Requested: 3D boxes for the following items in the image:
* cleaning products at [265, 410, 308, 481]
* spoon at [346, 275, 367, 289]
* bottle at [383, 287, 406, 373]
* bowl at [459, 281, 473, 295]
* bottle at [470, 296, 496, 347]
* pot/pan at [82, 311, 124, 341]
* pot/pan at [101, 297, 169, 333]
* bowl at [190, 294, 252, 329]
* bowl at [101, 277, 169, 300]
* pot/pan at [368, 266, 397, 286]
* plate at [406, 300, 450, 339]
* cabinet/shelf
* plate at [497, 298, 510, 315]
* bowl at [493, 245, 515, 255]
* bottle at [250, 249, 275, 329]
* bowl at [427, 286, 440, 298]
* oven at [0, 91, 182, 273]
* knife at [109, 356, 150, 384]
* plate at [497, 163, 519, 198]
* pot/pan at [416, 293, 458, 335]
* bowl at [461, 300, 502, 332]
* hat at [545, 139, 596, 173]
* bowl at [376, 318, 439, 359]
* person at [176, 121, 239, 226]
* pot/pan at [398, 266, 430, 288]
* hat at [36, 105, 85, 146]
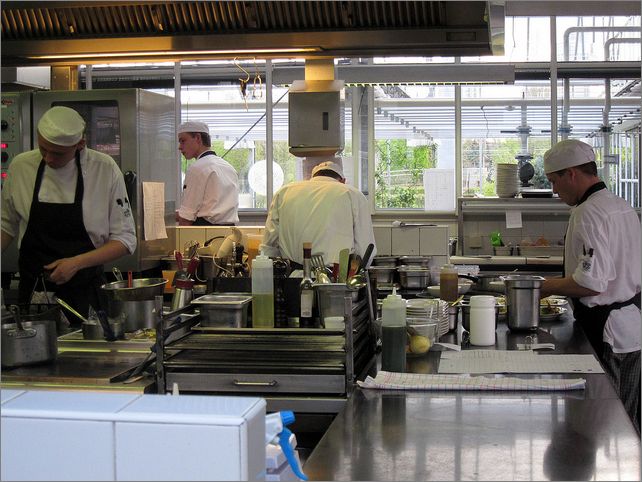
[{"bbox_3d":[-0.073,0.434,1.270,0.079,0.174,0.158,0,7,-3],"label":"cleaning products"},{"bbox_3d":[0.135,0.154,2.219,0.027,0.043,0.064,-17,-4,35],"label":"spoon"},{"bbox_3d":[0.260,0.317,2.115,0.082,0.296,0.048,1,7,6],"label":"bottle"},{"bbox_3d":[0.774,0.250,3.226,0.081,0.036,0.081,0,3,0],"label":"bowl"},{"bbox_3d":[0.679,0.333,2.510,0.106,0.196,0.123,2,7,15],"label":"bottle"},{"bbox_3d":[-0.907,0.357,2.507,0.232,0.091,0.142,3,8,19],"label":"pot/pan"},{"bbox_3d":[-0.797,0.307,2.624,0.175,0.114,0.178,0,2,23],"label":"pot/pan"},{"bbox_3d":[-0.370,0.277,2.255,0.223,0.119,0.243,0,7,0],"label":"bowl"},{"bbox_3d":[-0.793,0.218,2.590,0.235,0.082,0.243,0,8,0],"label":"bowl"},{"bbox_3d":[0.430,0.195,4.016,0.207,0.138,0.208,1,5,5],"label":"pot/pan"},{"bbox_3d":[0.444,0.318,2.469,0.172,0.116,0.180,0,3,12],"label":"plate"},{"bbox_3d":[1.894,-0.227,6.939,1.634,0.530,1.505,0,3,5],"label":"cabinet/shelf"},{"bbox_3d":[0.881,0.321,2.897,0.066,0.113,0.111,-3,-8,12],"label":"plate"},{"bbox_3d":[1.847,0.101,6.035,0.126,0.060,0.119,0,2,0],"label":"bowl"},{"bbox_3d":[-0.217,0.194,2.263,0.080,0.261,0.052,0,7,-2],"label":"bottle"},{"bbox_3d":[0.575,0.262,3.036,0.059,0.033,0.061,2,3,0],"label":"bowl"},{"bbox_3d":[-1.865,-0.542,5.039,1.373,1.793,1.071,-1,3,1],"label":"oven"},{"bbox_3d":[-0.634,0.441,2.046,0.038,0.048,0.131,13,2,10],"label":"knife"},{"bbox_3d":[1.938,-0.627,6.224,0.225,0.352,0.225,2,7,17],"label":"plate"},{"bbox_3d":[0.516,0.322,2.643,0.170,0.119,0.171,1,6,9],"label":"pot/pan"},{"bbox_3d":[0.719,0.337,2.683,0.148,0.099,0.146,0,4,0],"label":"bowl"},{"bbox_3d":[1.289,-0.444,3.100,0.225,0.139,0.163,-3,13,18],"label":"hat"},{"bbox_3d":[0.373,0.363,2.432,0.249,0.102,0.243,0,-6,0],"label":"bowl"},{"bbox_3d":[-0.972,-0.575,5.092,0.517,0.875,0.391,0,7,-7],"label":"person"},{"bbox_3d":[0.615,0.242,3.936,0.203,0.141,0.210,2,8,11],"label":"pot/pan"},{"bbox_3d":[-1.210,-0.536,2.803,0.193,0.186,0.146,-4,8,-30],"label":"hat"}]
